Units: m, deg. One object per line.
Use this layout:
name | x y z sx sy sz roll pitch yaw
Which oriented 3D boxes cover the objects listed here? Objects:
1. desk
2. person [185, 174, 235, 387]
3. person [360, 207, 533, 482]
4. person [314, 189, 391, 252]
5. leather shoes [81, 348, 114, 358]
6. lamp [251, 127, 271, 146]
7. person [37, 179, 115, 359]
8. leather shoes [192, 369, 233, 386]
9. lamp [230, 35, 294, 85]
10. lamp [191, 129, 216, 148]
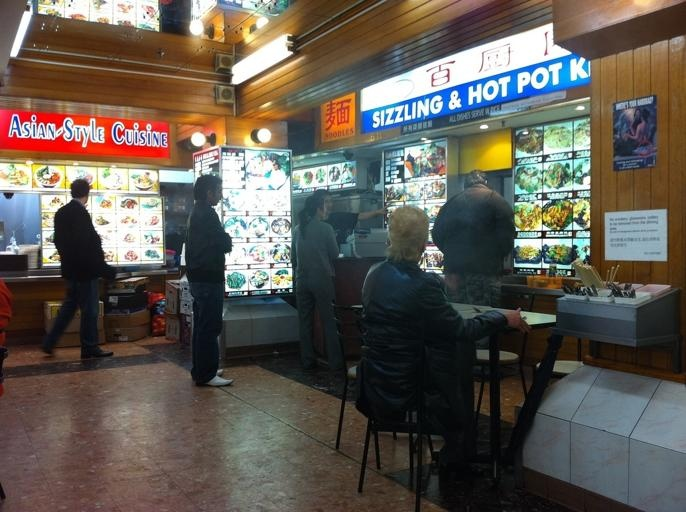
desk | 0.939 0.768 3.624 0.808 0.601 0.818 -11 28 -21
person | -1.413 0.275 5.626 0.459 2.226 0.323 -2 4 -15
person | 0.523 0.397 3.338 0.882 1.410 0.345 1 4 16
person | 0.162 -0.478 7.341 1.659 0.542 0.850 3 -20 -4
leather shoes | -3.258 1.278 7.047 0.385 0.152 0.127 -1 2 -27
lamp | -1.198 -1.754 7.939 0.219 0.231 0.237 17 34 41
person | -3.476 0.169 7.013 0.850 2.331 0.382 0 4 6
leather shoes | -1.427 1.315 5.783 0.473 0.196 0.148 -1 -3 -4
lamp | -1.039 -2.547 6.986 0.126 0.222 0.950 7 -11 -42
lamp | -2.100 -1.766 8.085 0.437 0.295 0.280 2 0 -35
